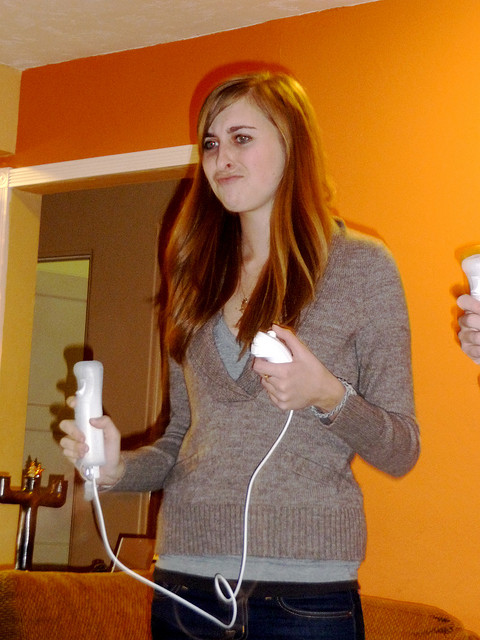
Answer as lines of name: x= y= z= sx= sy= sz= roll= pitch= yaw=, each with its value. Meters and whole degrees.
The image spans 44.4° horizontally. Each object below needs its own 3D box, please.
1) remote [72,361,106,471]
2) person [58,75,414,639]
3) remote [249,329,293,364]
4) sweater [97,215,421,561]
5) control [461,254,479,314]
remote: x=-0.199 y=0.124 z=0.769 sx=0.049 sy=0.142 sz=0.117 roll=6 pitch=-3 yaw=-18
person: x=0.032 y=0.014 z=0.824 sx=0.425 sy=0.828 sz=0.374 roll=4 pitch=-3 yaw=14
remote: x=0.038 y=0.029 z=0.658 sx=0.044 sy=0.032 sz=0.015 roll=18 pitch=33 yaw=27
sweater: x=0.030 y=0.080 z=0.805 sx=0.422 sy=0.496 sz=0.224 roll=3 pitch=-4 yaw=17
control: x=0.266 y=-0.051 z=0.673 sx=0.020 sy=0.054 sz=0.050 roll=4 pitch=-3 yaw=19
